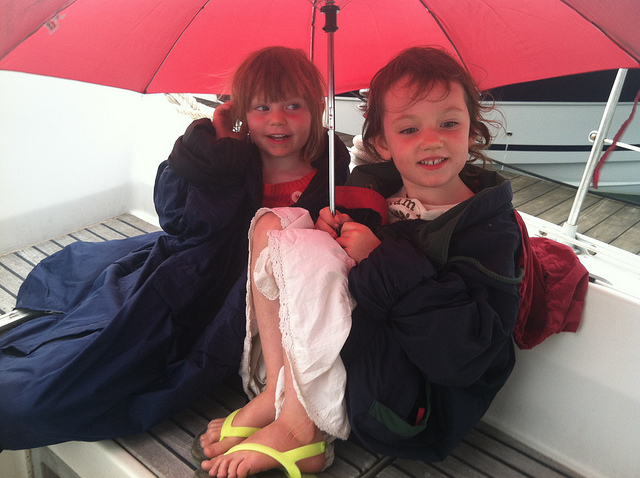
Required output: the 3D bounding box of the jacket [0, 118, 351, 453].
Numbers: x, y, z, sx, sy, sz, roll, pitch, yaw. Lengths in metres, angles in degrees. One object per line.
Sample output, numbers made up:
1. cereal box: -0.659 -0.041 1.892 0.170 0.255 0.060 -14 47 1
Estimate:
1. jacket: -0.385 0.214 1.759 1.288 0.568 0.850 -25 43 -30
